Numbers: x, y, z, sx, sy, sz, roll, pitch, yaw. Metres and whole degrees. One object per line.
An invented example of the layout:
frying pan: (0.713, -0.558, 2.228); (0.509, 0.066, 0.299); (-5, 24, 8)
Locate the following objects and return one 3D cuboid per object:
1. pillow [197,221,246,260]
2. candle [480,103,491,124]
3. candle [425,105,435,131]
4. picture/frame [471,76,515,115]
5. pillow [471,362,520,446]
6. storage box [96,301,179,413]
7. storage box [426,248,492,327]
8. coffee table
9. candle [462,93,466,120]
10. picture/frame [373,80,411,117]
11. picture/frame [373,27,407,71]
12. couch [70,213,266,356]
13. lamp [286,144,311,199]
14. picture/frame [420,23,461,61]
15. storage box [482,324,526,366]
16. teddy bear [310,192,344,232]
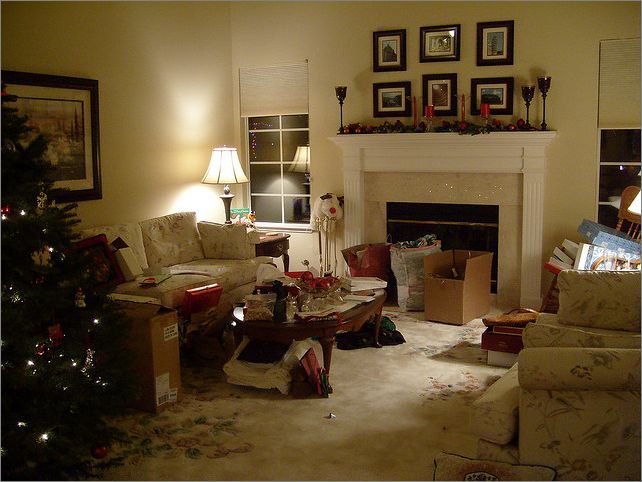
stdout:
pillow: (-1.125, 0.010, 5.527); (0.459, 0.427, 0.168); (2, -5, 5)
candle: (1.787, -1.380, 5.325); (0.104, 0.231, 0.261); (2, 13, 17)
candle: (1.231, -1.405, 5.566); (0.094, 0.296, 0.303); (1, 13, 12)
picture/frame: (1.898, -1.610, 5.358); (0.491, 0.461, 0.036); (3, 8, 26)
pillow: (0.869, 0.826, 2.376); (0.202, 0.208, 0.290); (6, 15, 32)
storage box: (-1.213, 0.818, 3.447); (0.404, 0.705, 0.351); (-5, 13, -11)
storage box: (1.420, 0.454, 5.099); (0.544, 0.615, 0.696); (7, 11, 38)
coffee table: (-0.223, 0.752, 3.719); (0.850, 0.379, 1.090); (1, 7, 24)
candle: (1.580, -1.498, 5.431); (0.053, 0.280, 0.185); (1, 13, 14)
picture/frame: (0.848, -1.699, 5.783); (0.483, 0.416, 0.038); (1, 10, 17)
picture/frame: (0.814, -2.274, 5.740); (0.558, 0.567, 0.069); (3, 11, 24)
couch: (-1.516, 0.345, 4.999); (1.181, 1.005, 1.993); (7, 13, 27)
lamp: (-0.260, -0.991, 6.503); (0.185, 0.598, 0.373); (-12, 16, -36)
picture/frame: (1.342, -2.262, 5.538); (0.417, 0.343, 0.020); (6, 30, 22)
storage box: (1.504, 0.868, 4.008); (0.302, 0.290, 0.239); (3, 4, 29)
teddy bear: (0.059, -0.350, 6.152); (0.431, 0.496, 0.327); (-1, 13, 4)
